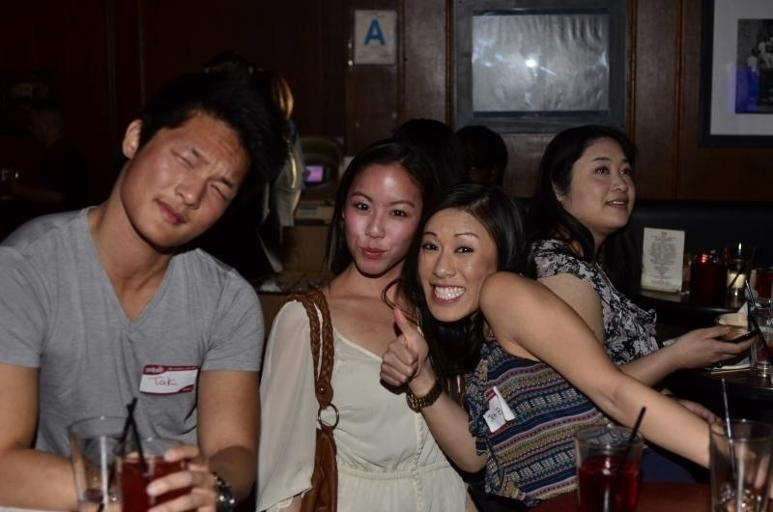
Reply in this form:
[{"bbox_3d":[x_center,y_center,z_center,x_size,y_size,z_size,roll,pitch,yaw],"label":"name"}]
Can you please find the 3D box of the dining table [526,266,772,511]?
[{"bbox_3d":[1.100,0.460,2.909,1.123,0.461,0.482,15,-2,11],"label":"dining table"}]
